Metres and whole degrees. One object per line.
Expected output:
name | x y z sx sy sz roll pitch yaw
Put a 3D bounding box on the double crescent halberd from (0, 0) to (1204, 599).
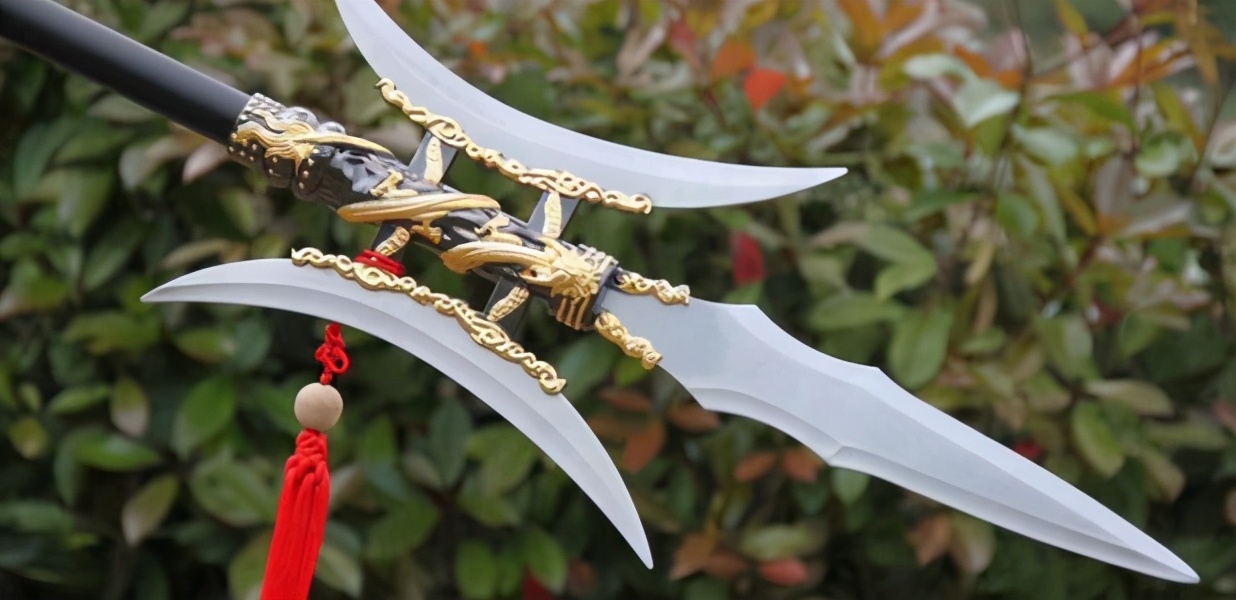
double crescent halberd | -0.087 -0.028 3.978 1.858 1.245 0.538 -9 -34 -6
